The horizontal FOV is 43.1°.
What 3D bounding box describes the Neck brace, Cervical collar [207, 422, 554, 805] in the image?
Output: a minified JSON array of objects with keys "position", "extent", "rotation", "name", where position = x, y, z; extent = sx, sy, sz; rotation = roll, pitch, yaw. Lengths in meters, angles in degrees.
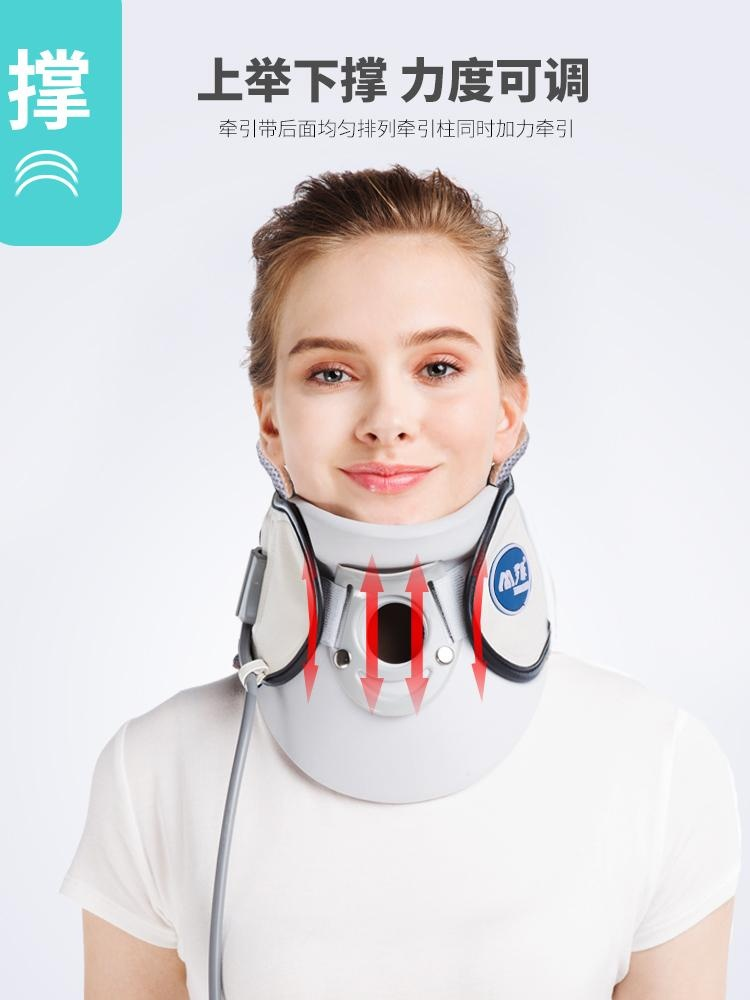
[{"position":[0.022,0.138,1.345],"extent":[0.385,0.461,0.355],"rotation":[0,0,2],"name":"Neck brace, Cervical collar"}]
